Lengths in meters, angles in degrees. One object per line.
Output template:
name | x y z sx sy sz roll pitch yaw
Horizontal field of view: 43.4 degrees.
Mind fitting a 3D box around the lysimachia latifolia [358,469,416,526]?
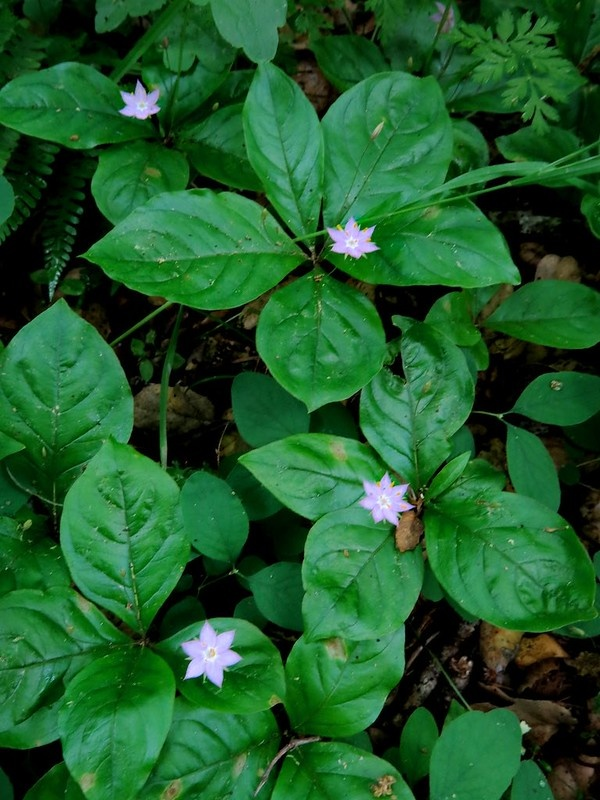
lysimachia latifolia | 0.300 0.343 2.561 0.187 0.144 0.185 7 44 4

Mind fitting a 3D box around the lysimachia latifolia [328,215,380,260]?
lysimachia latifolia | 0.188 -0.566 2.647 0.181 0.152 0.158 3 45 0

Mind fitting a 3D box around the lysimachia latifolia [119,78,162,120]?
lysimachia latifolia | -0.607 -1.137 2.858 0.146 0.174 0.176 -3 45 -6

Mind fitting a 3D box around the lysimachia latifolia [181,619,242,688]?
lysimachia latifolia | -0.285 0.830 2.453 0.187 0.180 0.187 2 45 -1
